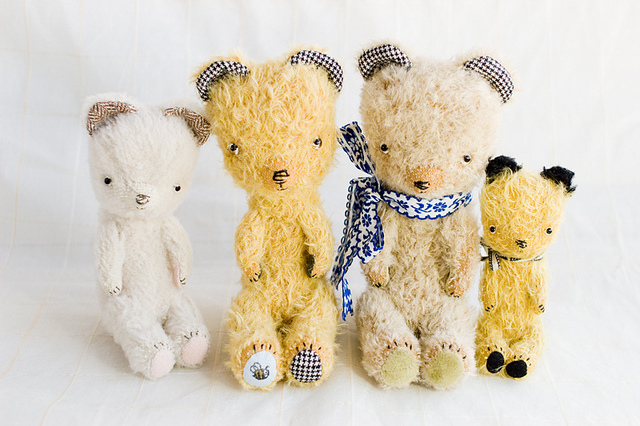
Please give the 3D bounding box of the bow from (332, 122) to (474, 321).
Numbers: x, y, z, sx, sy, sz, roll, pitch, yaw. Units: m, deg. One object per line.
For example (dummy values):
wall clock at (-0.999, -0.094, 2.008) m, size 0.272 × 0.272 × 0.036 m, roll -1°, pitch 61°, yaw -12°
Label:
bow at (0.216, -0.028, 2.617) m, size 0.451 × 0.799 × 0.493 m, roll -6°, pitch 32°, yaw -19°

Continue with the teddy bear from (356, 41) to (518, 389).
teddy bear at (0.353, -0.024, 2.633) m, size 0.580 × 1.240 × 0.791 m, roll 1°, pitch 1°, yaw 5°

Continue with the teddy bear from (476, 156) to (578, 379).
teddy bear at (0.720, 0.206, 2.448) m, size 0.334 × 0.795 × 0.379 m, roll 9°, pitch 13°, yaw 34°

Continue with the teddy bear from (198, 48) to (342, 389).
teddy bear at (-0.221, -0.083, 2.585) m, size 0.728 × 1.287 × 0.458 m, roll 0°, pitch 17°, yaw -8°

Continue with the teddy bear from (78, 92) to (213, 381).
teddy bear at (-0.638, 0.066, 2.471) m, size 0.466 × 0.949 × 0.647 m, roll -4°, pitch 22°, yaw -31°
